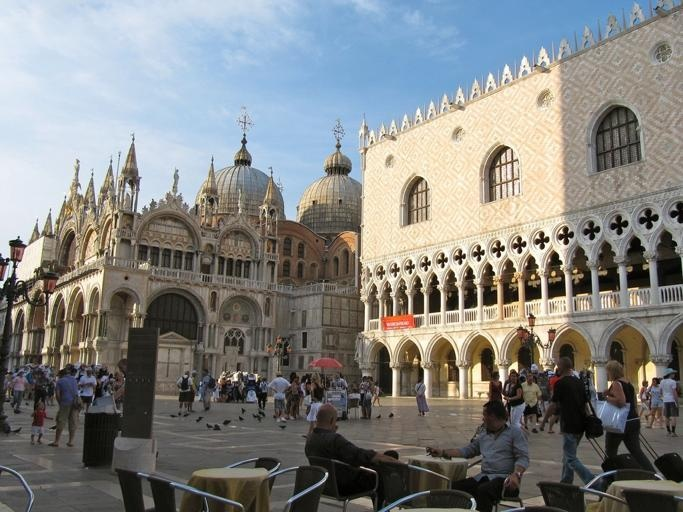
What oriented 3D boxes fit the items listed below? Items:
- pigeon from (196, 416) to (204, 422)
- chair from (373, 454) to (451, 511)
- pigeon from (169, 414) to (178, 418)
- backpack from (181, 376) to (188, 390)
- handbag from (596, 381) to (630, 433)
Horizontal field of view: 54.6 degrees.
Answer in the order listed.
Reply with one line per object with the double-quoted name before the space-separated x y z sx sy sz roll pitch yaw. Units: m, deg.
"pigeon" -4.370 4.979 20.274 0.282 0.088 0.295 4 -30 -37
"chair" 0.943 3.064 8.958 0.807 1.163 0.899 -3 -10 5
"pigeon" -5.808 5.523 22.837 0.108 0.165 0.388 -10 -14 3
"backpack" -5.967 4.853 25.156 0.347 0.518 0.262 3 -15 -5
"handbag" 4.569 2.558 11.096 0.503 0.821 0.427 -6 -15 25
